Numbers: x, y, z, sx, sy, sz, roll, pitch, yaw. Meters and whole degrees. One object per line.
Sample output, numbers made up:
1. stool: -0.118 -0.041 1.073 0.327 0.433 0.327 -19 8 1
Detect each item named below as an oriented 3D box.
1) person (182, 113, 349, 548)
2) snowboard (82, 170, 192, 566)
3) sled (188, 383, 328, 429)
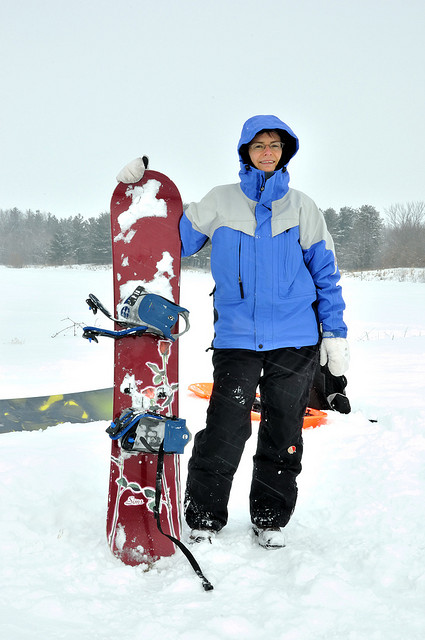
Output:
1. person: 0.228 0.026 2.472 0.686 1.705 0.441 0 4 -6
2. snowboard: -0.274 0.203 2.416 0.418 1.631 0.304 1 -5 1
3. sled: 0.335 0.642 4.669 0.570 0.130 1.343 -3 6 -36
